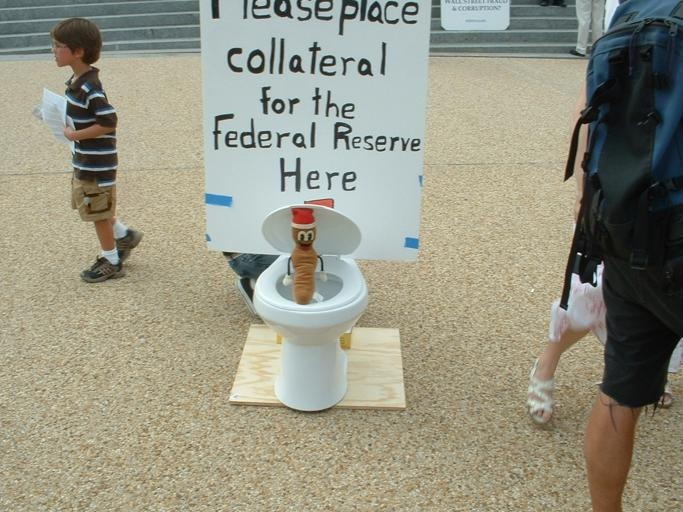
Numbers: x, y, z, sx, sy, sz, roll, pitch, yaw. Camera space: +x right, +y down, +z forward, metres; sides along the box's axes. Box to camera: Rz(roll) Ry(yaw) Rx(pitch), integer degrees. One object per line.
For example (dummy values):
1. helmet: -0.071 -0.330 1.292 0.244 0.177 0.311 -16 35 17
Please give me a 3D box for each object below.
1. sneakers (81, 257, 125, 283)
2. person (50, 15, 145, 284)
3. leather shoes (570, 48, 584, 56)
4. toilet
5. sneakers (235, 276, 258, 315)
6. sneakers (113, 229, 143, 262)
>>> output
1. sneakers: -1.422 0.084 3.565 0.265 0.120 0.115 -2 11 -18
2. person: -1.433 -0.570 3.426 0.320 1.453 0.367 -7 27 -17
3. leather shoes: 3.367 -2.865 8.494 0.217 0.083 0.087 29 -1 20
4. toilet: -0.141 0.216 2.751 0.499 0.921 0.468 -1 25 -4
5. sneakers: -0.506 0.211 3.212 0.081 0.214 0.089 -35 -3 -12
6. sneakers: -1.334 -0.074 3.712 0.135 0.252 0.089 19 38 -33
